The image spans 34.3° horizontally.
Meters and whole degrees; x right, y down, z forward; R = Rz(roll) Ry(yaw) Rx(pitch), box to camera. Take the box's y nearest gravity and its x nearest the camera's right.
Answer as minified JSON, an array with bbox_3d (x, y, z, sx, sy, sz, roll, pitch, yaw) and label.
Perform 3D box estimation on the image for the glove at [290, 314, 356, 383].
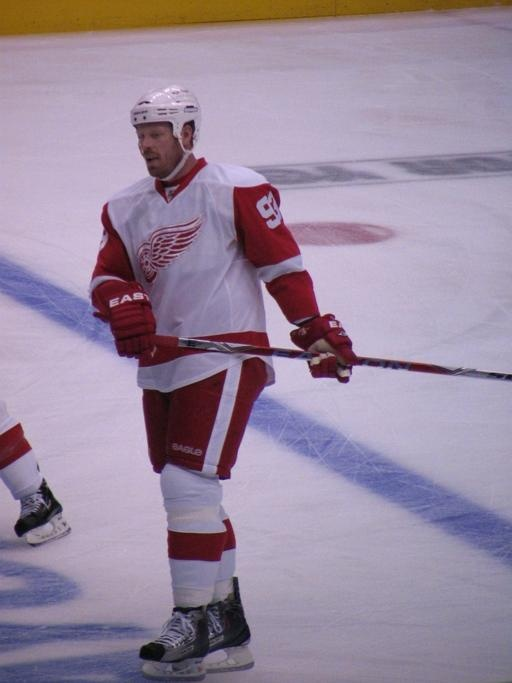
[{"bbox_3d":[0.214,0.014,1.981,0.178,0.156,0.077,12,48,48],"label":"glove"}]

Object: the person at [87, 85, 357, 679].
[{"bbox_3d":[-0.061,0.075,1.922,0.590,1.306,0.706,-8,21,-6],"label":"person"}]

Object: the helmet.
[{"bbox_3d":[-0.203,-0.544,2.009,0.172,0.121,0.123,-15,22,-16],"label":"helmet"}]

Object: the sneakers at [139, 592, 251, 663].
[{"bbox_3d":[-0.132,0.641,1.905,0.108,0.122,0.337,-2,-3,41],"label":"sneakers"}]

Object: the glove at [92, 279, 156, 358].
[{"bbox_3d":[-0.317,-0.045,1.932,0.159,0.082,0.192,-9,46,-18],"label":"glove"}]
